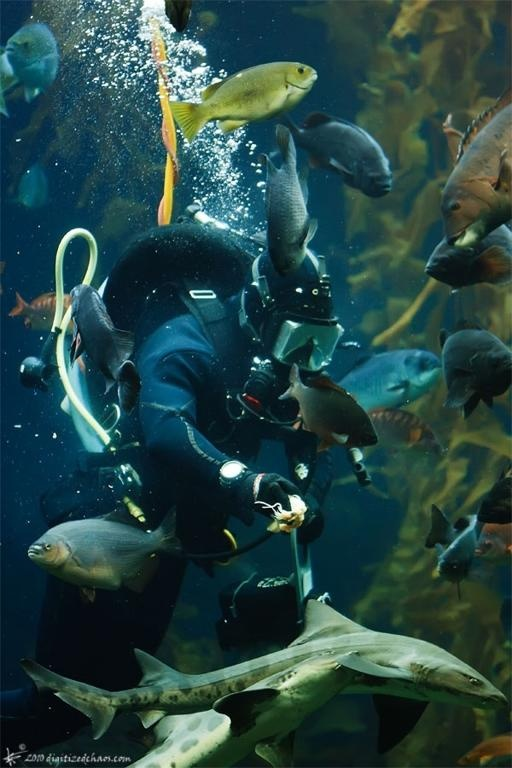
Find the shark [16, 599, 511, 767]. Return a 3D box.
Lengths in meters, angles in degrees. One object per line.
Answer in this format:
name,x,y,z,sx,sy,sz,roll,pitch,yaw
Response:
shark,0.015,0.913,2.413,1.206,0.505,0.433,5,25,-13

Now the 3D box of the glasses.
glasses,0.180,-0.122,2.821,0.271,0.160,0.161,-5,6,-21

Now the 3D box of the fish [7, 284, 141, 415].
fish,-0.595,-0.101,2.749,0.160,0.294,0.624,16,18,-39

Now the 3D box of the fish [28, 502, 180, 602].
fish,-0.487,0.539,2.650,0.456,0.243,0.165,-7,30,-35

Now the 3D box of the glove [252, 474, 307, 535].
glove,0.070,0.349,2.467,0.186,0.132,0.080,20,43,39
